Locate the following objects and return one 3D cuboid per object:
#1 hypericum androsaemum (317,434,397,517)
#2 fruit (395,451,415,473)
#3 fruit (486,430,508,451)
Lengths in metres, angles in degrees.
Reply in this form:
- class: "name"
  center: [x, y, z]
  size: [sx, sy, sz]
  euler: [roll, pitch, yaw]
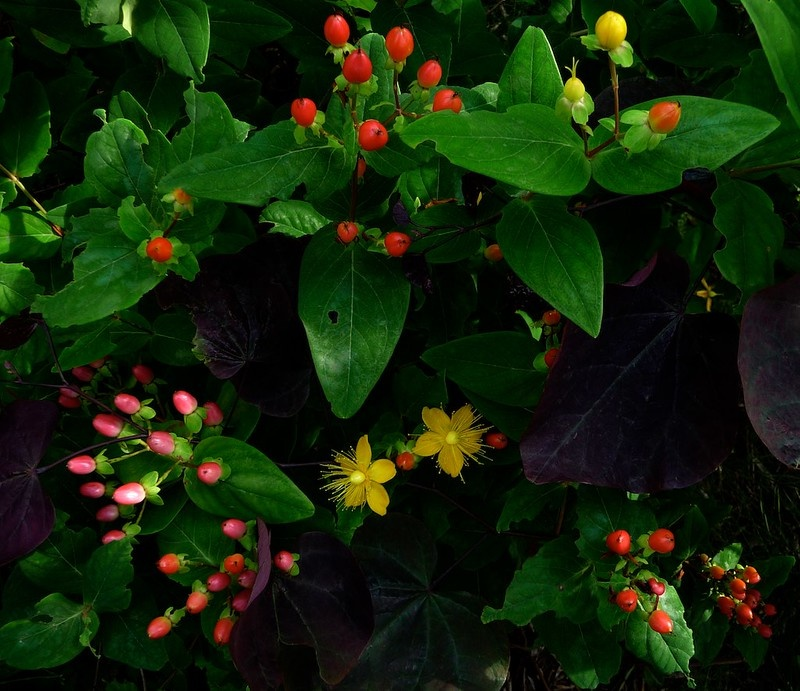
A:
- class: "hypericum androsaemum"
  center: [-0.054, 0.165, 1.016]
  size: [0.100, 0.103, 0.075]
  euler: [4, 6, 0]
- class: "fruit"
  center: [0.006, 0.154, 1.018]
  size: [0.025, 0.026, 0.015]
  euler: [-22, 4, 8]
- class: "fruit"
  center: [0.133, 0.131, 1.051]
  size: [0.024, 0.025, 0.032]
  euler: [31, -4, -20]
